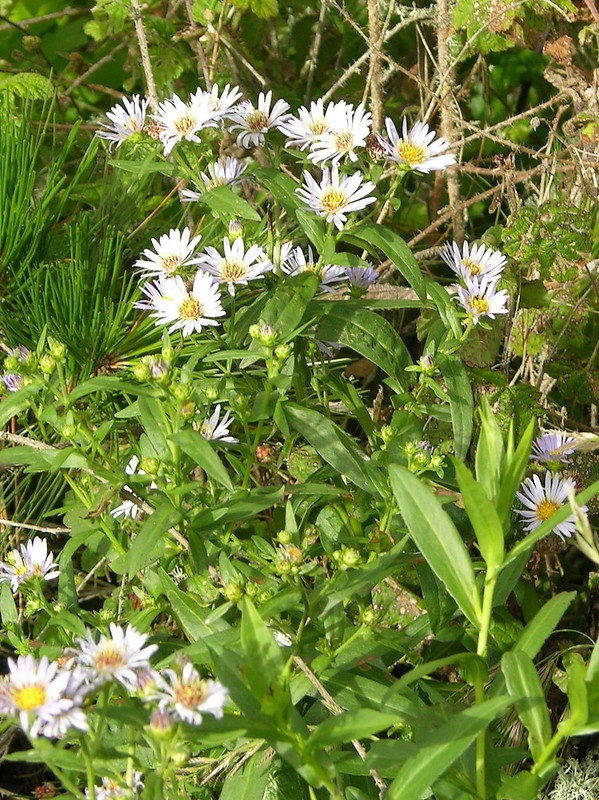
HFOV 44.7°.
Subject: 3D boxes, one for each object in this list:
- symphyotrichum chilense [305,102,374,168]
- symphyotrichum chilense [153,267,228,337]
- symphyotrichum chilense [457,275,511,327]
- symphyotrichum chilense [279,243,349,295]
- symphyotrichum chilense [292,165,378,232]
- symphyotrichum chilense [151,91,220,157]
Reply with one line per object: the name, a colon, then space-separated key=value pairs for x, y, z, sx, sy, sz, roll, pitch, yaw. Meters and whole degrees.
symphyotrichum chilense: x=0.075 y=-0.365 z=1.048 sx=0.035 sy=0.096 sz=0.094 roll=23 pitch=8 yaw=-44
symphyotrichum chilense: x=-0.150 y=-0.134 z=0.958 sx=0.084 sy=0.059 sz=0.107 roll=-3 pitch=42 yaw=-11
symphyotrichum chilense: x=0.251 y=-0.134 z=1.026 sx=0.081 sy=0.032 sz=0.077 roll=13 pitch=62 yaw=2
symphyotrichum chilense: x=0.015 y=-0.182 z=1.145 sx=0.100 sy=0.038 sz=0.097 roll=20 pitch=34 yaw=-26
symphyotrichum chilense: x=0.049 y=-0.271 z=1.009 sx=0.101 sy=0.039 sz=0.098 roll=20 pitch=78 yaw=7
symphyotrichum chilense: x=-0.174 y=-0.417 z=1.105 sx=0.092 sy=0.100 sz=0.189 roll=-3 pitch=42 yaw=-11
